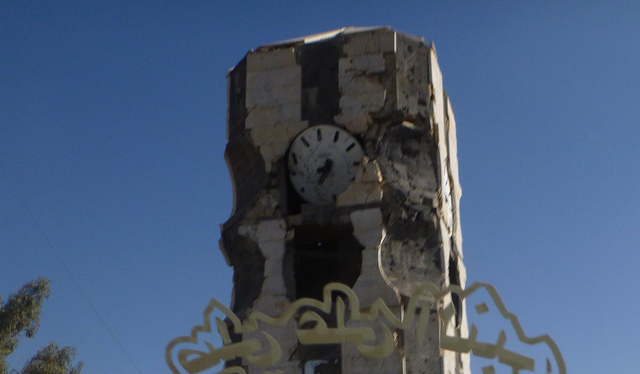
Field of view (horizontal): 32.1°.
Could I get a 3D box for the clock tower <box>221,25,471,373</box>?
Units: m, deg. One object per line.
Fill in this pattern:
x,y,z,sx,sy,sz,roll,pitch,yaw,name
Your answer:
0.933,1.123,40.009,7.981,14.902,8.593,-4,-35,7,clock tower
